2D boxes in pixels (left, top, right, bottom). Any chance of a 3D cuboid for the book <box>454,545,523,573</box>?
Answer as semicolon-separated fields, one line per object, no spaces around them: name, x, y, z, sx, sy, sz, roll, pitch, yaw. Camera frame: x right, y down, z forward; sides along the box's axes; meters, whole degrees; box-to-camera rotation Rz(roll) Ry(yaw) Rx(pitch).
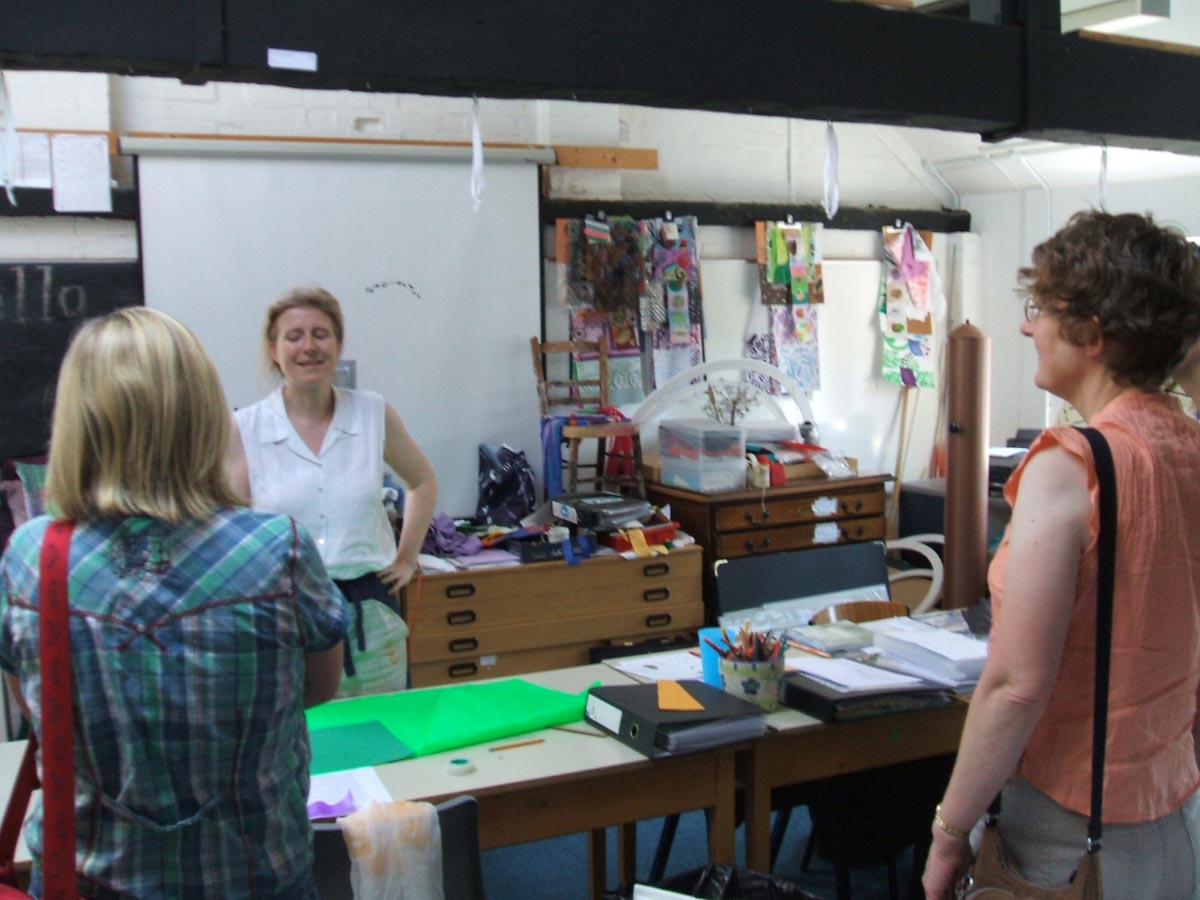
book;-0.492;0.473;4.924;0.292;0.041;0.258;-5;9;-19

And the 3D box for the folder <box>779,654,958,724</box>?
folder;0.688;0.650;3.061;0.355;0.096;0.377;-5;-2;-17

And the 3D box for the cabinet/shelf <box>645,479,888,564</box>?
cabinet/shelf;0.902;0.316;5.655;1.152;0.351;0.333;-6;9;-21

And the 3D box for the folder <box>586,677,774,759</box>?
folder;0.214;0.651;2.789;0.220;0.063;0.218;-1;5;-34

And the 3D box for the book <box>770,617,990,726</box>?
book;0.739;0.589;2.978;0.327;0.082;0.322;-2;6;-10

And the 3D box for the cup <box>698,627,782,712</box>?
cup;0.370;0.564;2.930;0.208;0.212;0.162;-1;-2;19

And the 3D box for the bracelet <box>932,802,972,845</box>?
bracelet;0.636;0.672;2.083;0.059;0.082;0.044;6;-7;20

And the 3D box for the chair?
chair;-0.071;-0.156;5.579;0.488;0.801;0.777;-3;8;-3
